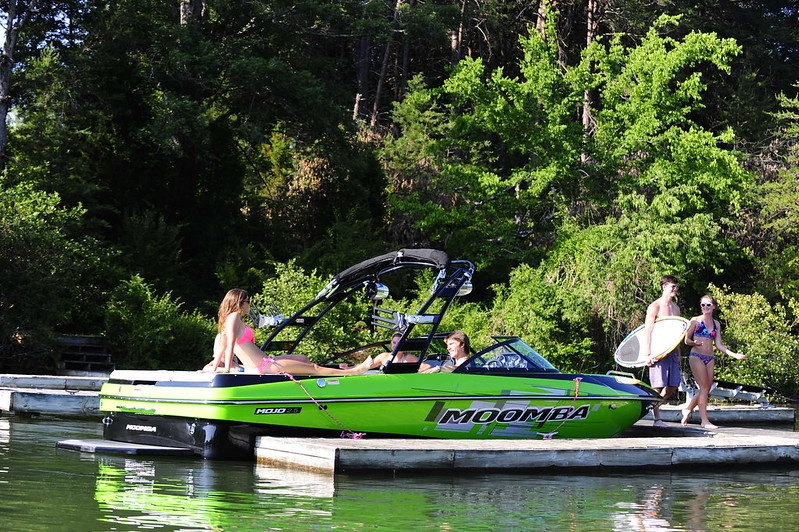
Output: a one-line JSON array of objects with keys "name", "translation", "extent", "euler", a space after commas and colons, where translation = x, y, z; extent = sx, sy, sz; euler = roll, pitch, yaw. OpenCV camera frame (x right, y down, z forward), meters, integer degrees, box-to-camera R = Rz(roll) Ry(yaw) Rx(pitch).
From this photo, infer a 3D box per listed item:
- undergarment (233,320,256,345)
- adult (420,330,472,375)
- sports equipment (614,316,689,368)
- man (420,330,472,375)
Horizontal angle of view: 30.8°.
[{"name": "undergarment", "translation": [-3.535, 1.575, 33.392], "extent": [0.436, 0.407, 0.418], "euler": [-4, 5, -12]}, {"name": "adult", "translation": [1.236, 2.045, 34.342], "extent": [0.672, 1.084, 0.846], "euler": [27, -17, -32]}, {"name": "sports equipment", "translation": [6.496, 1.734, 35.374], "extent": [1.225, 0.599, 2.435], "euler": [3, 3, -2]}, {"name": "man", "translation": [1.234, 2.105, 34.293], "extent": [0.672, 1.084, 0.846], "euler": [27, -17, -32]}]
